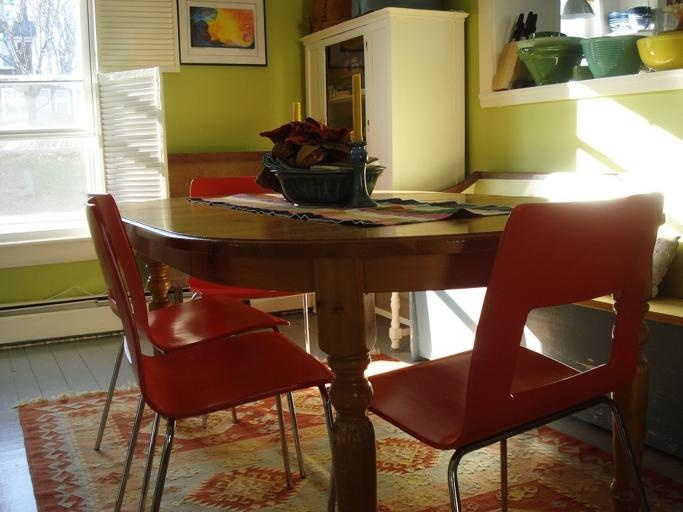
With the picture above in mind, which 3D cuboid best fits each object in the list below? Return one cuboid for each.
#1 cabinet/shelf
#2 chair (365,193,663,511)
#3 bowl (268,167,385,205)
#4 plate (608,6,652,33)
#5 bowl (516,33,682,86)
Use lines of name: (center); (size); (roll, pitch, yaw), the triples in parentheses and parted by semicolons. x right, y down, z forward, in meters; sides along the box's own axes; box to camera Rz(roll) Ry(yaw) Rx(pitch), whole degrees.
cabinet/shelf: (0.407, -1.051, 3.828); (0.707, 1.107, 0.835); (-12, 21, -30)
chair: (0.373, 0.195, 1.277); (0.615, 0.702, 0.412); (-7, 19, -15)
bowl: (-0.063, -0.246, 1.983); (0.382, 0.119, 0.363); (-4, 7, 0)
plate: (1.498, -1.223, 2.913); (0.152, 0.067, 0.184); (-3, 5, -24)
bowl: (1.335, -1.048, 2.967); (0.311, 0.264, 0.943); (-10, 18, -27)
